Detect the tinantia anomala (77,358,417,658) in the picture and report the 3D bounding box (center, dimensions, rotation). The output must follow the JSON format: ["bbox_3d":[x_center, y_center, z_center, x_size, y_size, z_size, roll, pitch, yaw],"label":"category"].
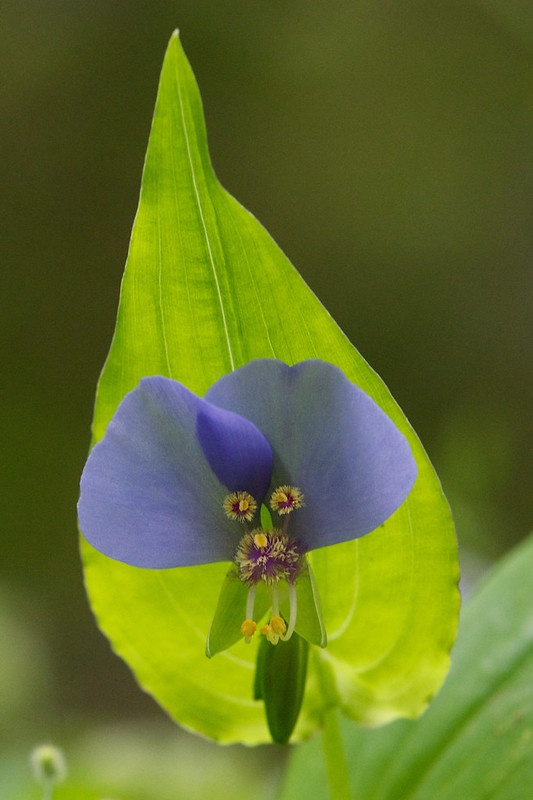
[{"bbox_3d":[-0.007,0.032,0.259,0.095,0.067,0.085,35,64,19],"label":"tinantia anomala"}]
